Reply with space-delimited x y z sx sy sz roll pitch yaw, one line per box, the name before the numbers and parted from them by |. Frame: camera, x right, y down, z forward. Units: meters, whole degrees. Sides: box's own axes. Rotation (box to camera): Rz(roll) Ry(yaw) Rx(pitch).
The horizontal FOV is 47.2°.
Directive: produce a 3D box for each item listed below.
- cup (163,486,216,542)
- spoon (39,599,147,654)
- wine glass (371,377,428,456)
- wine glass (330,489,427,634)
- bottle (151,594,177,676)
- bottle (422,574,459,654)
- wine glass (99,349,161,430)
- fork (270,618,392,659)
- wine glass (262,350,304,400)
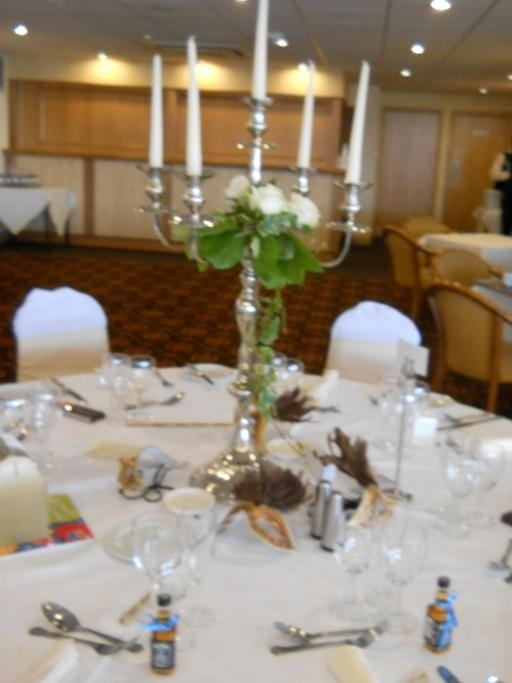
cup | -0.094 0.240 0.854 0.077 0.066 0.072 1 18 0
spoon | -0.222 0.350 0.745 0.130 0.019 0.048 5 10 43
wine glass | 0.344 0.187 1.407 0.137 0.108 0.200 9 -27 15
wine glass | 0.175 0.328 0.857 0.134 0.191 0.074 6 -6 25
bottle | -0.114 0.346 0.720 0.033 0.079 0.084 -1 13 -8
bottle | 0.242 0.344 0.762 0.035 0.106 0.065 11 17 35
wine glass | -0.339 0.124 1.549 0.174 0.164 0.166 4 13 2
fork | 0.091 0.378 0.767 0.085 0.022 0.051 -3 5 -18
wine glass | 0.063 0.075 1.361 0.104 0.095 0.042 -10 16 -33
